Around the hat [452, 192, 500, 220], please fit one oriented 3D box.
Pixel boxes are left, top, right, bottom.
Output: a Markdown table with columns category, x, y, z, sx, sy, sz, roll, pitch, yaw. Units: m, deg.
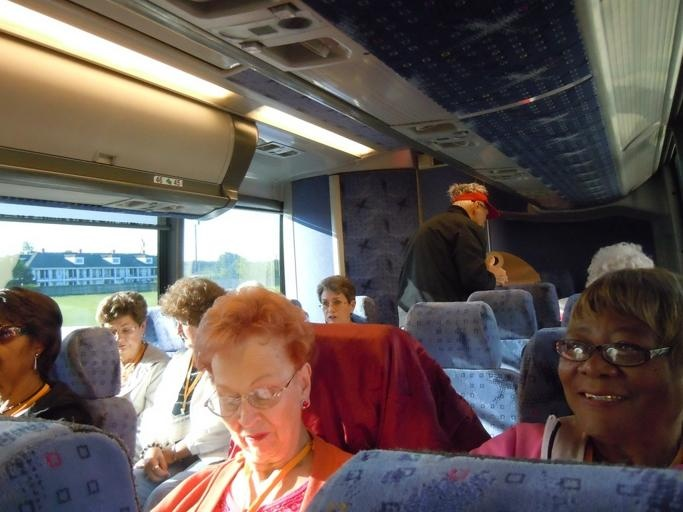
| category | x | y | z | sx | sy | sz | roll | pitch | yaw |
| --- | --- | --- | --- | --- | --- | --- | --- | --- | --- |
| hat | 1.031 | -0.357 | 3.631 | 0.312 | 0.087 | 0.203 | 12 | 3 | -7 |

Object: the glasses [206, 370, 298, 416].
| category | x | y | z | sx | sy | sz | roll | pitch | yaw |
| --- | --- | --- | --- | --- | --- | --- | --- | --- | --- |
| glasses | -0.236 | 0.437 | 1.407 | 0.225 | 0.063 | 0.214 | -8 | -28 | 9 |
